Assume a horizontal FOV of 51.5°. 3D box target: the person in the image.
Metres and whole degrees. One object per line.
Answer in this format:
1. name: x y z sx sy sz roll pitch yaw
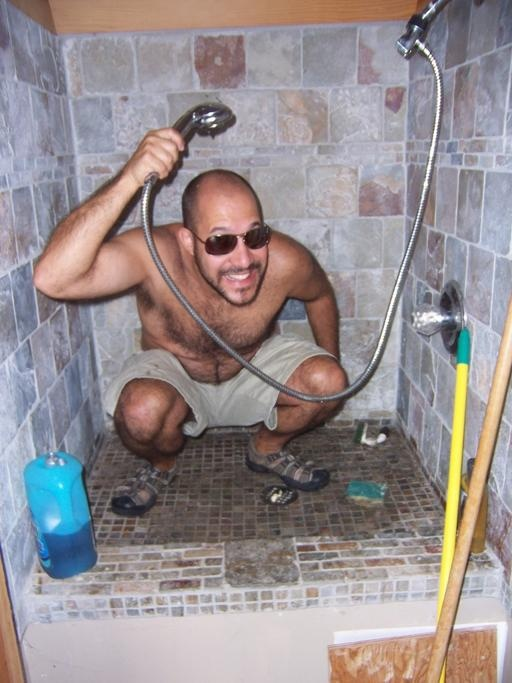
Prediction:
1. person: -0.125 -0.058 1.499 0.932 0.958 0.519 -10 16 -33

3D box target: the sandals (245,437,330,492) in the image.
1. sandals: 0.089 0.365 1.598 0.279 0.104 0.101 9 11 32

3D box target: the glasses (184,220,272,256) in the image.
1. glasses: -0.065 -0.274 1.359 0.192 0.075 0.156 -3 20 -18
